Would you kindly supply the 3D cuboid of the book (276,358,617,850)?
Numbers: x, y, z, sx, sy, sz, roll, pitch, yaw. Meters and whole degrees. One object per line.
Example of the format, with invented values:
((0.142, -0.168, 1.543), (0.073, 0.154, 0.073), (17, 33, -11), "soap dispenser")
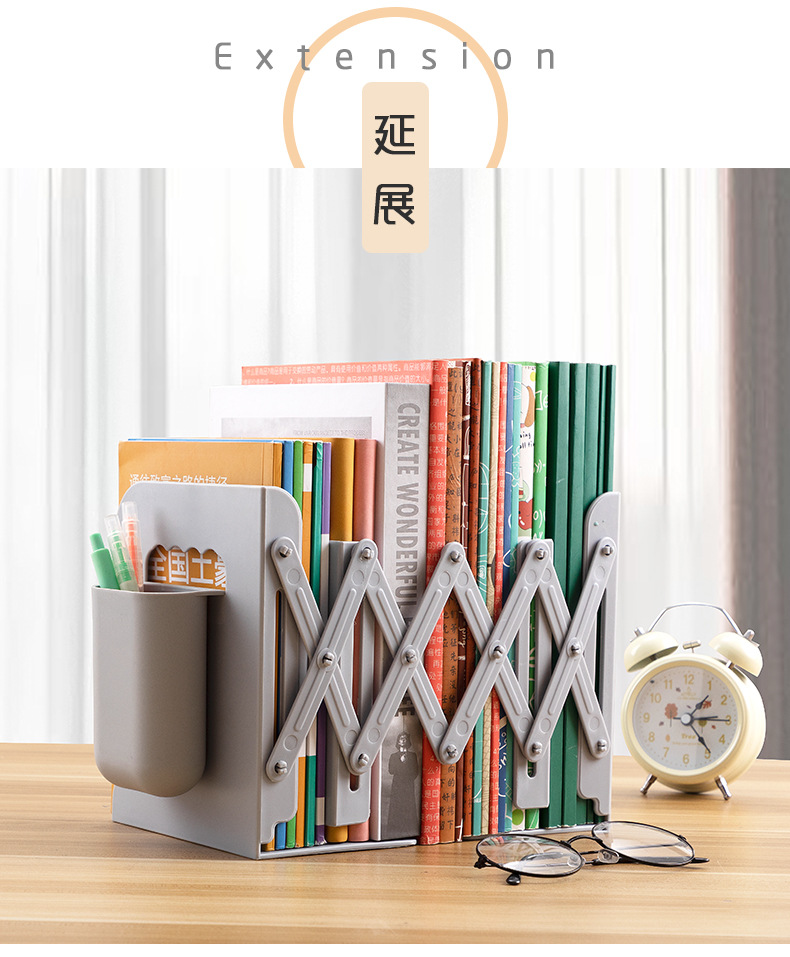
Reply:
((-0.015, 0.070, 1.246), (0.260, 0.469, 0.298), (-1, 3, -26), "book")

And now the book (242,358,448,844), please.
((-0.033, 0.104, 1.047), (0.032, 0.434, 0.270), (0, 4, -19), "book")

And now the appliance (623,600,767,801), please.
((0.274, 0.206, 1.335), (0.146, 0.267, 0.081), (-4, -13, 24), "appliance")
